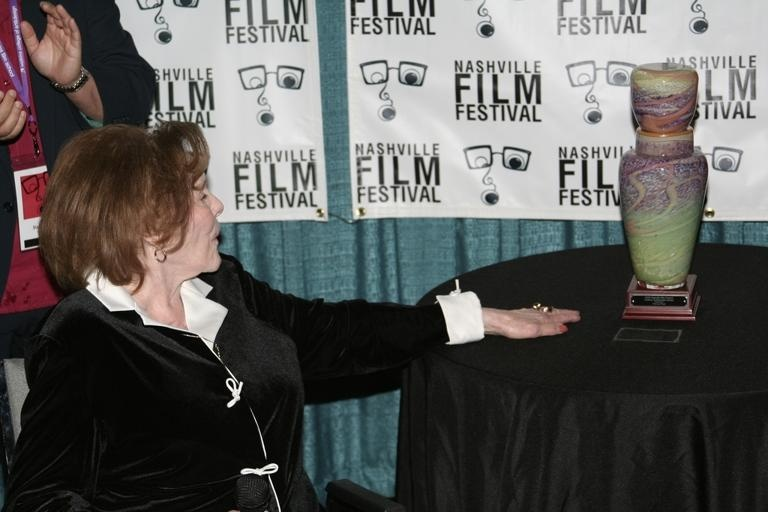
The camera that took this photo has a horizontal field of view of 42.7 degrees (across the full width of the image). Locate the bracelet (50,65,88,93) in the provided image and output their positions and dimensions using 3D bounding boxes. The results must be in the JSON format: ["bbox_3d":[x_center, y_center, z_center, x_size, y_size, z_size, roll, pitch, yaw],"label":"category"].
[{"bbox_3d":[-0.909,-0.504,2.822,0.072,0.081,0.023,-9,-22,4],"label":"bracelet"}]
